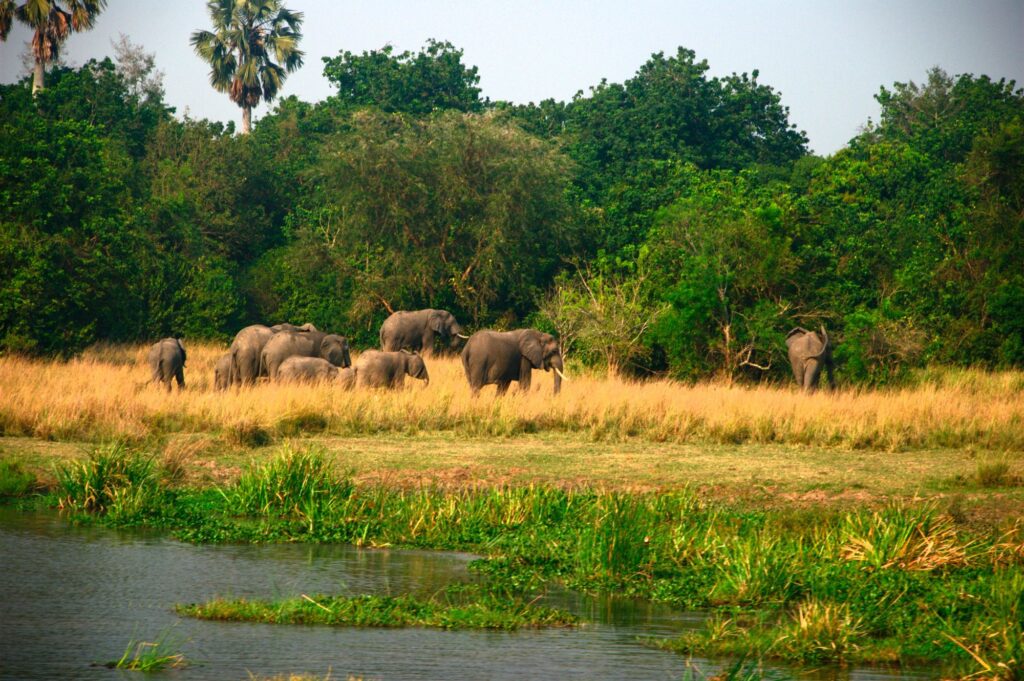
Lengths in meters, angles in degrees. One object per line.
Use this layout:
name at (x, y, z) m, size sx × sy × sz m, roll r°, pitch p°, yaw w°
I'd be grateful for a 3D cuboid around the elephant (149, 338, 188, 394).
elephant at (-10.042, 0.690, 42.206) m, size 0.915 × 1.666 × 2.643 m, roll 0°, pitch 7°, yaw -11°

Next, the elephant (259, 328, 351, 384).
elephant at (-6.181, 0.324, 42.680) m, size 1.100 × 1.427 × 2.490 m, roll 6°, pitch 9°, yaw 38°

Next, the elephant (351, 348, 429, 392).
elephant at (-3.431, 0.832, 41.075) m, size 1.975 × 1.140 × 0.881 m, roll -1°, pitch 4°, yaw -30°

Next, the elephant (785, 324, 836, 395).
elephant at (8.681, 0.521, 42.444) m, size 1.349 × 1.839 × 1.301 m, roll 4°, pitch -3°, yaw 11°

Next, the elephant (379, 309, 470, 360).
elephant at (-2.849, -0.216, 47.691) m, size 2.936 × 1.786 × 1.404 m, roll -3°, pitch 19°, yaw -11°

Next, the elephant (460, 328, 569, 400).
elephant at (0.103, 0.875, 42.350) m, size 3.154 × 2.412 × 1.514 m, roll -3°, pitch 10°, yaw -22°

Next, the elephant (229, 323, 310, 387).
elephant at (-6.892, 0.428, 42.888) m, size 3.063 × 1.840 × 1.313 m, roll -8°, pitch 22°, yaw -44°

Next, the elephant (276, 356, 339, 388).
elephant at (-5.623, 0.810, 40.065) m, size 1.623 × 0.919 × 0.689 m, roll -3°, pitch 11°, yaw -25°
